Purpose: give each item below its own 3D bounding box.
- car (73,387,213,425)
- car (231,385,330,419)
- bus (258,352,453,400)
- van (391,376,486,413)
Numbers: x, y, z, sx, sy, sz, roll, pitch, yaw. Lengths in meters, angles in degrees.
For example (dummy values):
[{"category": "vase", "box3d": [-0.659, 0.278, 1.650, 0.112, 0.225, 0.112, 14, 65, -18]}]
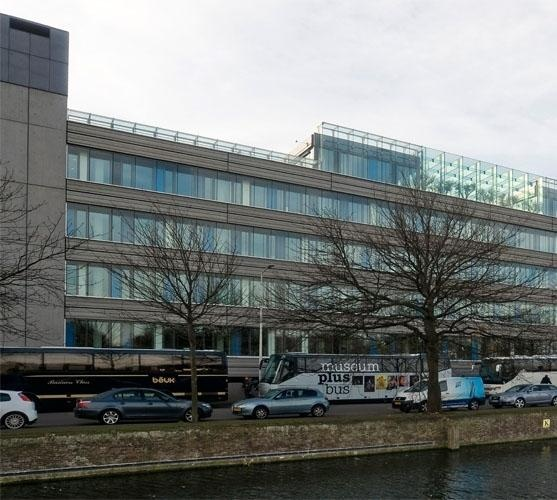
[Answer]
[{"category": "car", "box3d": [-5.605, 6.445, 35.542, 5.043, 1.159, 1.911, 1, -7, -15]}, {"category": "car", "box3d": [-0.101, 6.813, 39.005, 4.661, 1.200, 1.908, 4, -6, -32]}, {"category": "bus", "box3d": [4.083, 7.332, 49.317, 12.746, 2.745, 2.996, 7, -11, -33]}, {"category": "van", "box3d": [7.963, 7.382, 43.631, 5.396, 1.787, 1.976, 2, -5, -18]}]
